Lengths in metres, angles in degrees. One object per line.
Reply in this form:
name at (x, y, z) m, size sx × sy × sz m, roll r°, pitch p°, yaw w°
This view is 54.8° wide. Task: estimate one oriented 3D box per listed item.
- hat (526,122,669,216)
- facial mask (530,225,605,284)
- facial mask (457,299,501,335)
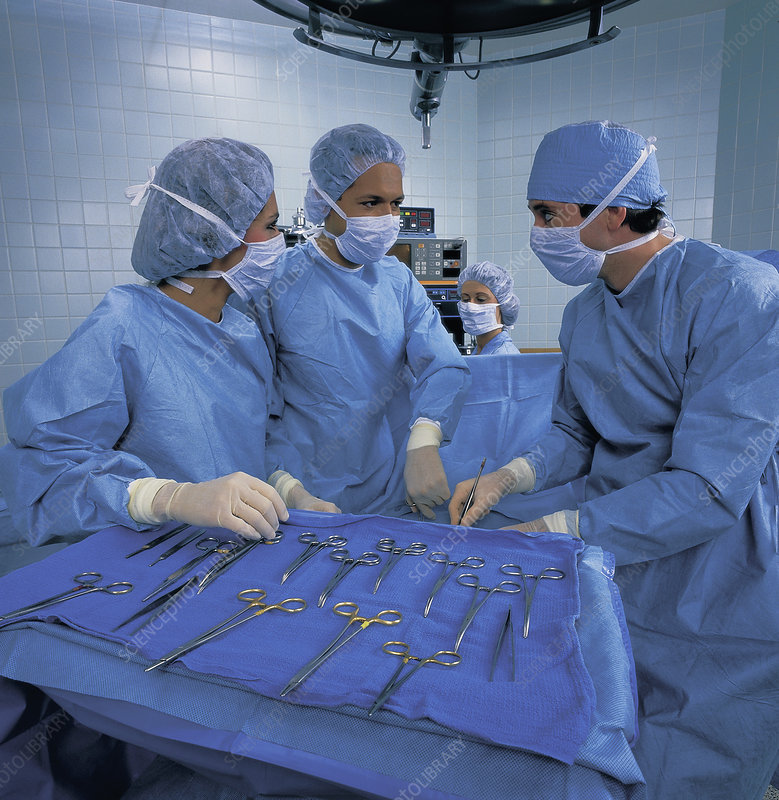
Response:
hat at (0.427, -0.474, 1.579) m, size 0.271 × 0.131 × 0.191 m, roll 13°, pitch 15°, yaw 17°
facial mask at (0.377, -0.300, 1.603) m, size 0.139 × 0.069 × 0.124 m, roll -20°, pitch 20°, yaw 10°
facial mask at (0.391, -0.361, 3.276) m, size 0.154 × 0.095 × 0.176 m, roll 3°, pitch 13°, yaw 37°
